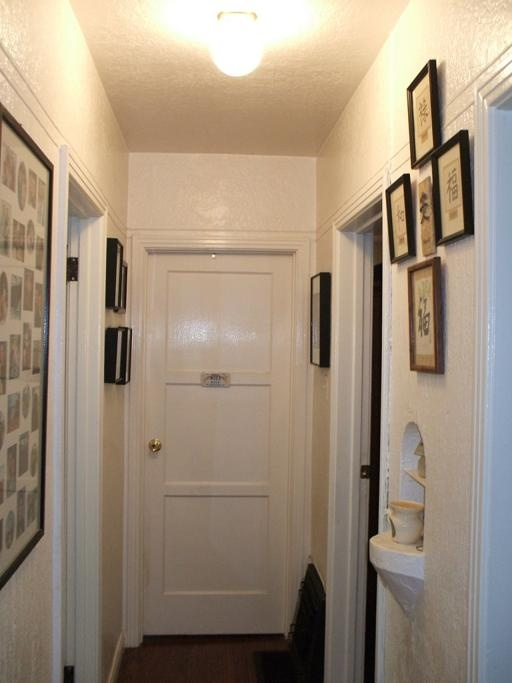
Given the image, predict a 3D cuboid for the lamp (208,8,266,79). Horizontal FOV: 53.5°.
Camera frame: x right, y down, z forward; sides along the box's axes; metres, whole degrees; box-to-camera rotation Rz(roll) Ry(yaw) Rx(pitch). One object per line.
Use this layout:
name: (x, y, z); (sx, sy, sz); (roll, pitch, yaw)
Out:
lamp: (-0.049, -0.788, 1.415); (0.118, 0.229, 0.150); (4, 13, 18)

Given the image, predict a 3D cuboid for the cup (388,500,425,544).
cup: (0.376, 0.435, 1.271); (0.072, 0.094, 0.083); (-1, 3, -26)
